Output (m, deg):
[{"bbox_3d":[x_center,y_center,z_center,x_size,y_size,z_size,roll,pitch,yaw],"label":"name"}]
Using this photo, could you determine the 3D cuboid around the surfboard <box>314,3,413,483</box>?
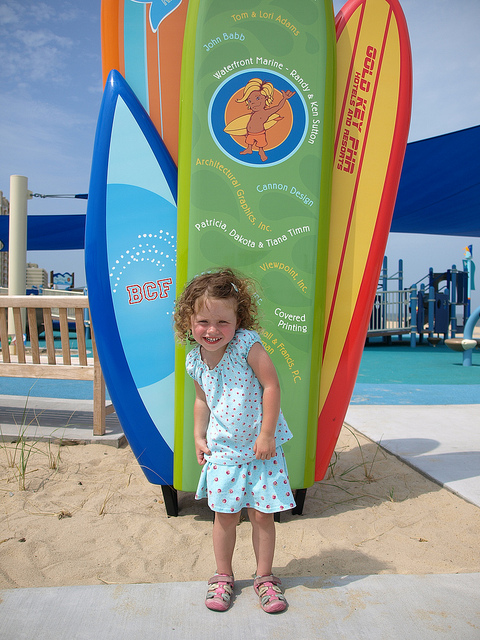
[{"bbox_3d":[0.501,-0.491,2.665,0.462,2.520,0.271,5,1,-7],"label":"surfboard"}]

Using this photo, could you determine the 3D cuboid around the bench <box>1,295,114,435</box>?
[{"bbox_3d":[-1.289,0.356,3.976,0.923,0.856,0.399,0,4,3],"label":"bench"}]

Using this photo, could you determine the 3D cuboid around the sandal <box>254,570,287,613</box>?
[{"bbox_3d":[0.085,0.793,1.660,0.057,0.055,0.154,0,-6,-6],"label":"sandal"}]

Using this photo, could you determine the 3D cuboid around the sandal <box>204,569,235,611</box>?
[{"bbox_3d":[-0.057,0.797,1.703,0.070,0.073,0.196,3,0,6],"label":"sandal"}]

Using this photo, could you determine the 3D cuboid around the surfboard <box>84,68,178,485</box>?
[{"bbox_3d":[-0.405,-0.088,2.441,0.378,1.573,0.161,-9,14,-22],"label":"surfboard"}]

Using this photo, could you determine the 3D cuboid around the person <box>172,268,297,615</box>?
[{"bbox_3d":[-0.028,0.326,1.749,0.388,0.970,0.362,1,4,2],"label":"person"}]

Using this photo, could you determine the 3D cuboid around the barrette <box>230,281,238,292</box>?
[{"bbox_3d":[-0.020,-0.101,1.727,0.009,0.030,0.008,-17,-17,-35],"label":"barrette"}]
